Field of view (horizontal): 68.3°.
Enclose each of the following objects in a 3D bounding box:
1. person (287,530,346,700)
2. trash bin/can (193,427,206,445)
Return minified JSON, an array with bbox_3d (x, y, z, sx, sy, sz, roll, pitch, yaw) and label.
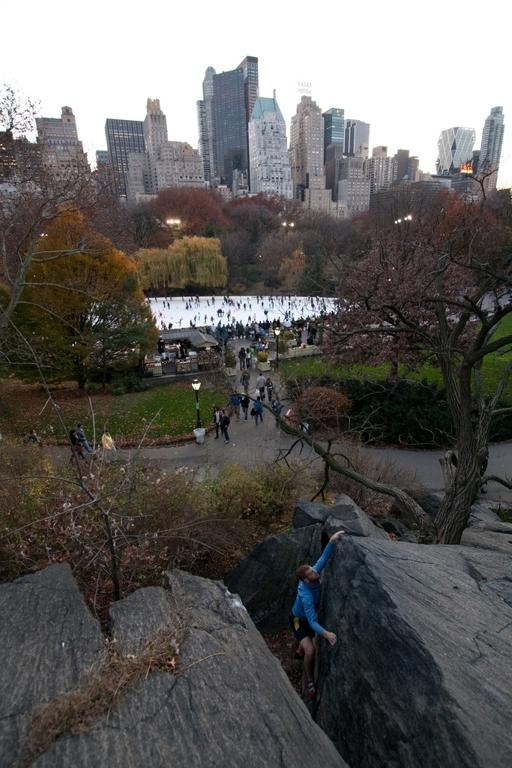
[{"bbox_3d":[0.625,2.461,3.910,0.526,1.697,0.897,-1,2,12],"label":"person"},{"bbox_3d":[-2.267,2.130,15.561,0.574,0.571,0.588,2,14,8],"label":"trash bin/can"}]
